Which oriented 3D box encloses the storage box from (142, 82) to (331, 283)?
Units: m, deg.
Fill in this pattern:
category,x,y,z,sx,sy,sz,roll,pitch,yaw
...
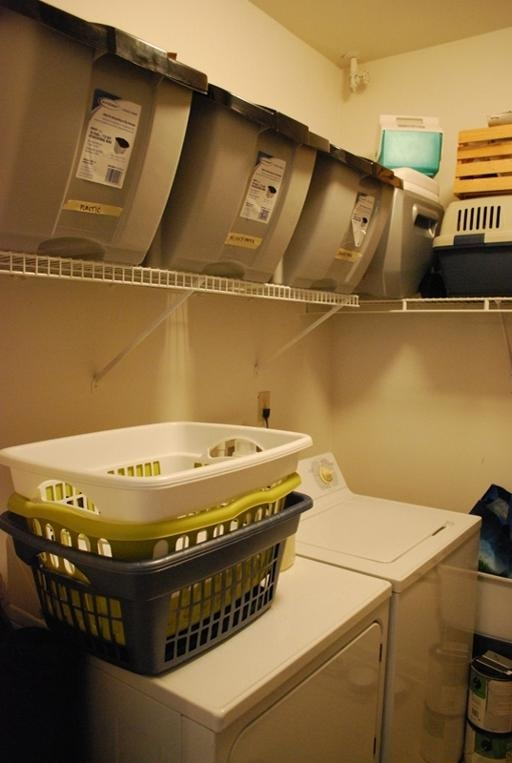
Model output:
category,x,y,z,sx,sy,sz,roll,pitch,yaw
storage box,-0.036,-0.485,1.581,0.409,0.488,0.509,20,13,30
